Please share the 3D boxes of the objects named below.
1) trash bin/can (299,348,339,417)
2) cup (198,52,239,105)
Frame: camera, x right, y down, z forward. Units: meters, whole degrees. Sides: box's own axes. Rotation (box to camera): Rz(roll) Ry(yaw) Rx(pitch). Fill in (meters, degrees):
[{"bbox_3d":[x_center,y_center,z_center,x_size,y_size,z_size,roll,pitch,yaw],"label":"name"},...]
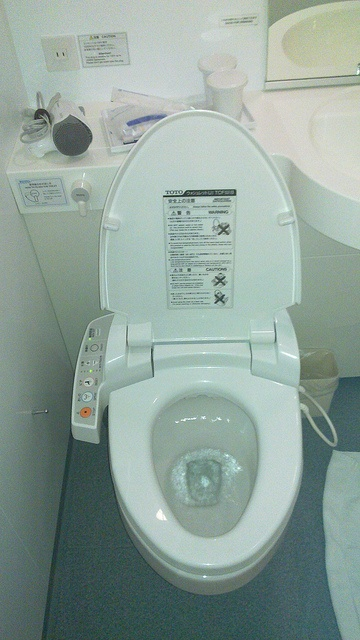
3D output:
[{"bbox_3d":[0.365,0.156,1.370,0.133,0.134,0.183,2,46,5],"label":"trash bin/can"},{"bbox_3d":[0.088,-0.536,1.049,0.080,0.101,0.085,-2,57,2],"label":"cup"}]
